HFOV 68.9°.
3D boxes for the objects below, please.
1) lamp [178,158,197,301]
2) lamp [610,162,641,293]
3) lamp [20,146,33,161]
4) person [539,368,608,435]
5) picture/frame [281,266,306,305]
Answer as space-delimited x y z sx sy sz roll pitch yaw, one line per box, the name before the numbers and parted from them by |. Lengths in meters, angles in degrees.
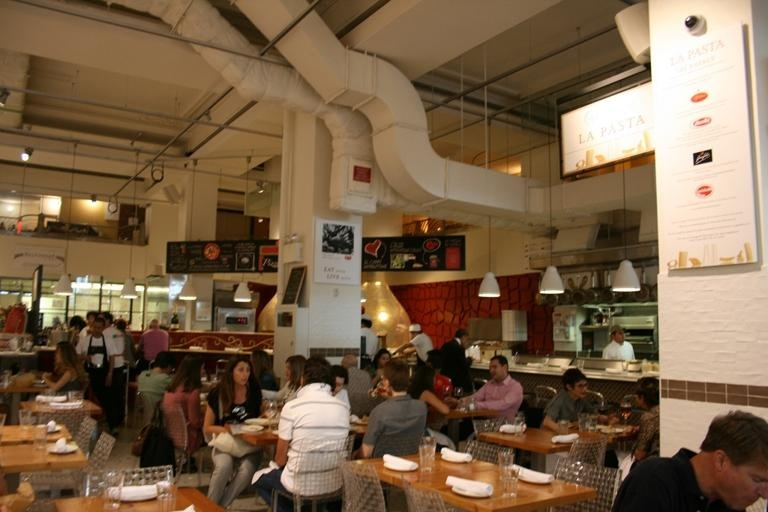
lamp | -4.525 -0.503 13.055 0.331 3.107 1.188 2 -5 -19
lamp | 3.941 -0.467 9.135 0.391 2.075 1.705 -2 -6 24
lamp | -7.733 -2.234 12.093 0.262 0.368 0.121 11 5 -23
person | 2.191 1.763 6.523 0.752 0.912 0.589 -3 9 -8
picture/frame | -1.374 0.458 8.640 0.043 0.601 0.516 27 -29 -31
